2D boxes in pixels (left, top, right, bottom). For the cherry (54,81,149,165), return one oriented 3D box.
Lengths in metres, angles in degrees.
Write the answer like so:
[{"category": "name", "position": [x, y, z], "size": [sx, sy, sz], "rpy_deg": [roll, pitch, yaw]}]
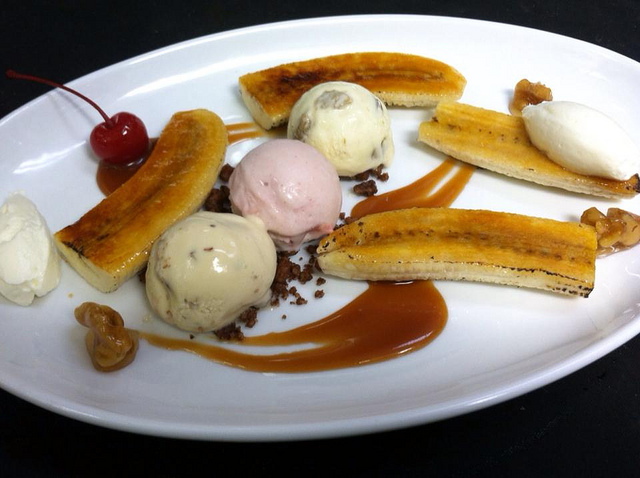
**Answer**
[{"category": "cherry", "position": [-1.358, -0.735, 4.263], "size": [0.369, 0.552, 0.536], "rpy_deg": [10, -61, 24]}]
